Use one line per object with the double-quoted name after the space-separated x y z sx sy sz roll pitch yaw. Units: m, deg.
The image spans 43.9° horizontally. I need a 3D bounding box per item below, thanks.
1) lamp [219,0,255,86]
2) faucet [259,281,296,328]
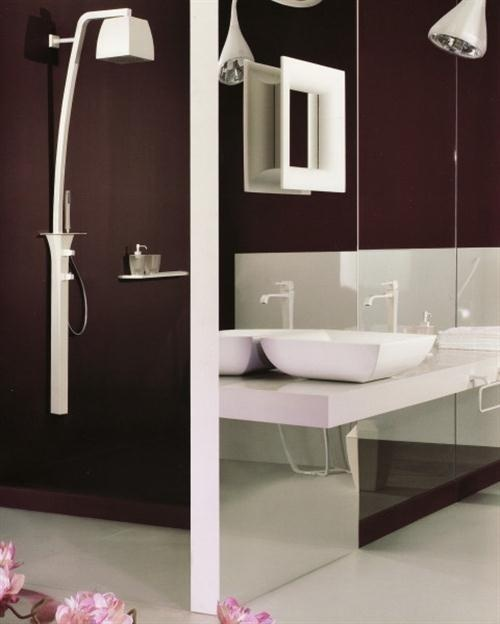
-0.040 -0.828 1.917 0.046 0.256 0.130 10 13 37 "lamp"
0.093 -0.019 2.027 0.142 0.150 0.034 -7 13 -37 "faucet"
